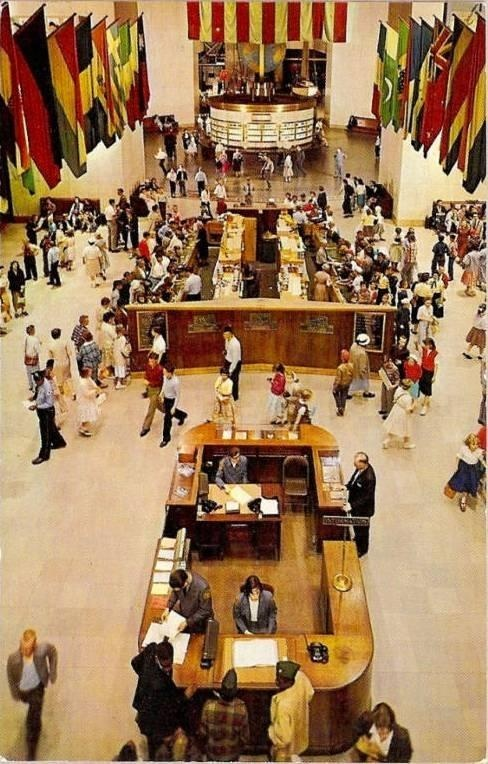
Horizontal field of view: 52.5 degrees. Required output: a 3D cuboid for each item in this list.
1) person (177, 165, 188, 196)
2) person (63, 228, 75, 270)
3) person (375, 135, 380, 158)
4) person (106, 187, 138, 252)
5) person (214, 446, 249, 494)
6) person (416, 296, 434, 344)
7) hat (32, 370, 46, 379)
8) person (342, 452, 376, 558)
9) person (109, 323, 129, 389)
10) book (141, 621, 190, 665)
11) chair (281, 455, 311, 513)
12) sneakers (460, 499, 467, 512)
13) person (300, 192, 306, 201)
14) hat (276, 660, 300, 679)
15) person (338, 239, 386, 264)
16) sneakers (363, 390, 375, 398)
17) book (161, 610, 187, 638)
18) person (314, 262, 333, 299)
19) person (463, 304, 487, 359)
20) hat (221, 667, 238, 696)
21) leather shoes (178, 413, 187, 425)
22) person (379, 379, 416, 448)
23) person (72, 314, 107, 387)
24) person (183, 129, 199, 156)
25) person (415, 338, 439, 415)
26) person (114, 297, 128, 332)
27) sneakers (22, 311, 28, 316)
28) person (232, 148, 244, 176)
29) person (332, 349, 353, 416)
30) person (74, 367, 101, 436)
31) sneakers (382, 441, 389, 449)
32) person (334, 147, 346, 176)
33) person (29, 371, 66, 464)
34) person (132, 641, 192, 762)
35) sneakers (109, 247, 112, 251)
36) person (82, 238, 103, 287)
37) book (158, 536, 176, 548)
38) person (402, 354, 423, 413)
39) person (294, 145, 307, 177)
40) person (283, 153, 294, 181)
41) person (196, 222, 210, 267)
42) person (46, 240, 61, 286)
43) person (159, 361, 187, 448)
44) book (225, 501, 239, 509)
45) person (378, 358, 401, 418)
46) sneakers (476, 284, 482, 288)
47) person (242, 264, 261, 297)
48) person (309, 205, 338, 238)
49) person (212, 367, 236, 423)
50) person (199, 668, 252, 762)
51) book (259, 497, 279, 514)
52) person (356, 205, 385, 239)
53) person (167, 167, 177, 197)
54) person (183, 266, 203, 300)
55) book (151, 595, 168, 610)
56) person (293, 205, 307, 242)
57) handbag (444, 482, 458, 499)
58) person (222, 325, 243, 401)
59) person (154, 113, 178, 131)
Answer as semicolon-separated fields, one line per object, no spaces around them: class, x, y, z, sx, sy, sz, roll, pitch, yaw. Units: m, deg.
person;-2.637;-8.710;21.607;0.434;1.144;0.559;-7;25;-12
person;-5.869;-4.529;16.952;0.346;1.050;1.390;-8;27;-13
person;7.362;-12.932;27.407;0.206;0.865;1.049;6;28;17
person;-4.284;-5.668;17.881;1.183;1.737;0.761;4;25;12
person;-0.131;1.090;6.347;0.404;0.772;0.515;-3;63;-6
person;3.929;-1.216;10.829;0.332;1.046;0.700;7;26;20
hat;-3.108;-0.118;7.695;0.170;0.131;0.246;-5;2;-15
person;1.381;1.510;5.930;0.367;1.370;0.508;-11;38;-11
person;-2.470;-0.528;10.134;0.385;1.301;0.425;-10;25;-19
book;-0.538;1.965;3.784;0.240;0.076;0.261;13;43;18
chair;0.737;1.456;6.898;0.374;0.876;0.436;2;24;8
sneakers;3.120;1.752;7.070;0.057;0.075;0.205;0;41;5
person;2.353;-7.307;19.651;0.102;0.398;0.982;4;29;12
hat;0.260;1.673;2.871;0.093;0.101;0.078;7;3;0
person;3.455;-3.834;14.557;1.114;0.767;1.575;5;10;29
sneakers;2.520;0.253;10.009;0.204;0.112;0.111;-7;28;-14
book;-0.554;1.919;3.952;0.137;0.068;0.155;10;36;27
person;2.027;-2.476;12.547;0.421;0.968;0.961;4;27;12
person;5.164;-1.092;11.098;0.406;1.150;1.299;9;29;23
hat;-0.065;1.648;2.706;0.083;0.052;0.158;-17;56;24
leather shoes;-1.062;0.649;8.862;0.053;0.122;0.182;24;73;13
person;2.608;0.522;8.297;0.436;1.227;0.455;-1;21;1
person;-2.934;-0.500;9.684;0.415;1.353;0.441;8;50;-9
person;-2.829;-13.075;27.268;0.738;1.219;1.329;-4;26;-4
person;3.369;-0.173;9.197;0.314;1.289;0.342;-10;22;-20
person;-2.583;-1.441;10.638;0.222;0.761;0.273;9;60;4
sneakers;-5.774;-1.869;13.367;0.056;0.082;0.181;0;31;-2
person;-0.265;-10.798;24.511;0.406;1.076;0.774;-4;25;-5
person;1.830;0.006;9.170;0.306;1.302;0.376;3;24;12
person;-2.708;0.380;8.778;0.310;1.050;0.435;-8;56;-14
sneakers;2.384;1.047;8.402;0.106;0.199;0.057;4;13;33
person;4.862;-11.059;25.010;0.486;1.236;1.699;3;28;11
person;-3.245;0.630;8.363;0.473;1.357;0.502;-3;52;-14
person;-0.561;2.034;3.192;0.376;0.966;0.259;10;26;25
sneakers;-4.753;-4.831;18.060;0.088;0.189;0.116;-2;22;-6
person;-4.525;-3.733;15.100;0.493;1.514;0.490;-8;41;-19
book;-0.805;1.723;5.365;0.143;0.055;0.185;3;30;-2
person;2.953;-0.022;8.782;0.251;0.946;0.268;9;36;33
person;2.970;-11.515;25.803;0.591;1.187;2.689;1;28;6
person;2.252;-10.614;24.558;0.515;1.162;1.713;1;27;6
person;-1.360;-4.572;16.717;0.310;1.299;0.636;1;24;7
person;-5.719;-3.585;15.145;0.439;1.225;0.858;-11;27;-20
person;-1.214;0.233;8.442;0.468;1.620;1.091;-5;25;-7
book;-0.123;1.485;5.994;0.169;0.045;0.208;-2;29;0
person;2.617;0.119;8.928;0.314;1.182;0.421;-27;44;-25
sneakers;6.823;-2.799;14.487;0.126;0.164;0.077;-3;-9;16
person;0.210;-2.949;14.391;0.453;0.947;0.807;-2;26;0
person;2.870;-5.834;18.178;0.970;0.507;1.449;-10;42;-13
person;-0.311;0.224;8.345;0.376;1.109;0.517;-3;24;-2
person;-0.119;1.927;2.868;0.289;0.801;0.133;8;25;21
book;0.324;1.487;6.055;0.138;0.046;0.181;4;33;1
person;4.711;-5.848;18.223;0.998;1.252;0.522;-23;32;-37
person;-3.034;-8.793;21.895;0.382;1.082;1.297;-5;27;-7
person;-1.300;-2.395;12.737;0.431;0.751;1.095;-5;27;-6
book;-0.726;1.935;4.385;0.091;0.027;0.104;3;28;-5
person;2.012;-5.725;18.067;0.395;1.187;0.801;14;29;32
handbag;2.934;1.535;7.058;0.169;0.193;0.181;24;76;29
person;-0.196;-0.365;9.239;0.339;1.361;0.554;-3;51;-3
person;-4.859;-16.888;32.339;1.447;0.899;1.824;-18;32;-27
